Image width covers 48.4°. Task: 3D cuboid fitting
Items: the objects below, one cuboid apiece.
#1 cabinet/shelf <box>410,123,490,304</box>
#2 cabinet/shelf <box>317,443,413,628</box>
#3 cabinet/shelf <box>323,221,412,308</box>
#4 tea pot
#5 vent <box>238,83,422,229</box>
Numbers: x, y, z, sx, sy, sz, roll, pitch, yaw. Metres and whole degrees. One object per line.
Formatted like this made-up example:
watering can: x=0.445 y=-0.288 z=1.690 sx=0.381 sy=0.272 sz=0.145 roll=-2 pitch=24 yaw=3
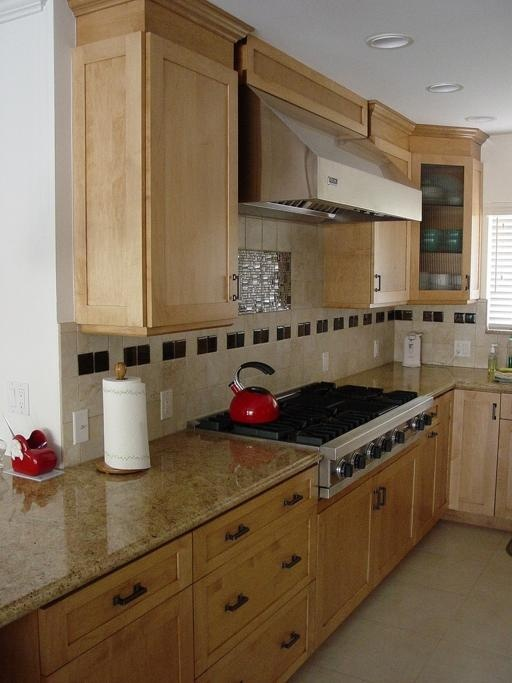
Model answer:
cabinet/shelf: x=1.256 y=-0.803 z=3.690 sx=0.694 sy=1.135 sz=0.276 roll=-1 pitch=9 yaw=-39
cabinet/shelf: x=0.448 y=0.816 z=2.384 sx=0.291 sy=0.484 sz=0.850 roll=-1 pitch=4 yaw=27
cabinet/shelf: x=0.711 y=-0.383 z=3.489 sx=0.459 sy=0.709 sz=0.776 roll=2 pitch=7 yaw=27
tea pot: x=0.007 y=0.203 z=2.379 sx=0.236 sy=0.237 sz=0.218 roll=-1 pitch=7 yaw=0
vent: x=0.314 y=-0.731 z=2.300 sx=0.380 sy=0.443 sz=0.862 roll=10 pitch=9 yaw=35
